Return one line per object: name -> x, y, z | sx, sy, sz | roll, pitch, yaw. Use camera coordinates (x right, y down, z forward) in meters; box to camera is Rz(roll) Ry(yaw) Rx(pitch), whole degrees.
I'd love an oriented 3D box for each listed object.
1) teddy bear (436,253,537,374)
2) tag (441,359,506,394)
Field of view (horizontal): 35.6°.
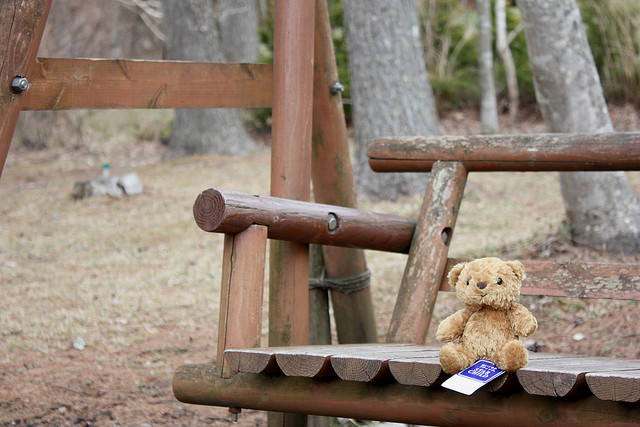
teddy bear -> 1.350, 0.809, 8.074 | 0.961, 1.183, 0.771 | -1, -2, 29
tag -> 1.198, 1.278, 7.817 | 0.304, 0.027, 0.544 | 10, 20, 43
